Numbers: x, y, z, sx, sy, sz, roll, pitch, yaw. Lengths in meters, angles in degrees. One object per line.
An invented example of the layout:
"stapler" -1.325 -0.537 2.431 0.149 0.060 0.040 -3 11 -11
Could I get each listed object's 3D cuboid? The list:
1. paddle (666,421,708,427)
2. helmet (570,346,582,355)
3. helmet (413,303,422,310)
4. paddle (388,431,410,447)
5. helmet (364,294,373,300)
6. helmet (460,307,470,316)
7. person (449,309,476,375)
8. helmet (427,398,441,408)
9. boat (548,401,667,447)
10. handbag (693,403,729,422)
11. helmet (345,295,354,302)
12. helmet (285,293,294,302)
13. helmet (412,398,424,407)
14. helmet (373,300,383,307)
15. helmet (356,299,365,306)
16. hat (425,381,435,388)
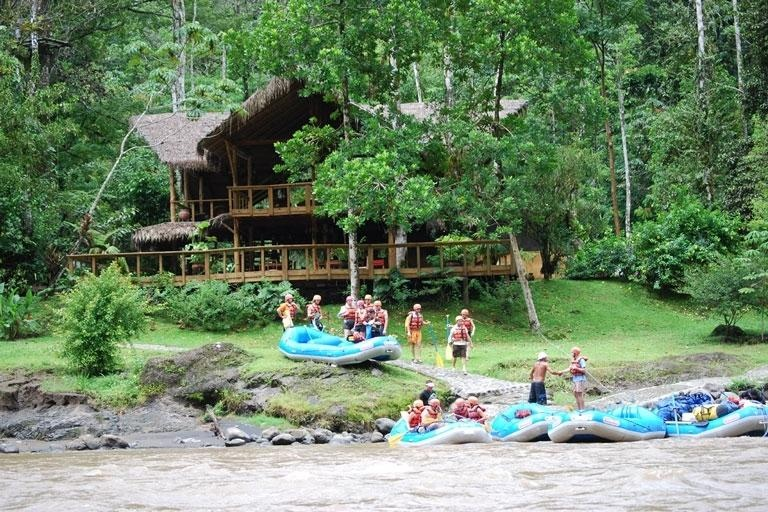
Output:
"paddle" 9.670 5.322 27.300 0.746 0.129 0.427 -2 -4 12
"helmet" 6.490 3.231 29.066 0.346 0.344 0.263 2 -2 -37
"helmet" 1.299 1.979 33.428 0.299 0.327 0.397 -2 -5 -35
"paddle" 0.438 5.869 27.728 0.786 0.258 0.209 -38 -35 19
"helmet" -0.671 1.739 36.568 0.388 0.220 0.555 2 5 -1
"helmet" 3.505 2.409 37.293 0.437 0.417 0.543 0 -31 3
"person" 2.995 3.341 33.296 0.928 2.300 0.962 -2 1 -8
"helmet" 1.631 4.715 27.799 0.265 0.295 0.316 22 39 25
"boat" 7.010 5.361 27.054 2.257 0.832 1.641 3 -12 -22
"handbag" 10.393 4.892 27.246 0.956 0.376 0.516 -17 -9 14
"helmet" -1.327 1.678 33.956 0.273 0.288 0.373 -1 -19 -20
"helmet" -3.631 1.589 33.114 0.301 0.347 0.423 0 -8 -14
"helmet" 1.102 4.781 27.900 0.350 0.263 0.266 -2 27 38
"helmet" -0.276 1.764 32.660 0.256 0.241 0.313 0 -12 3
"helmet" -0.900 1.774 33.032 0.273 0.235 0.295 -1 -9 0
"hat" 1.554 4.371 29.250 0.467 0.200 0.685 0 -6 -5
